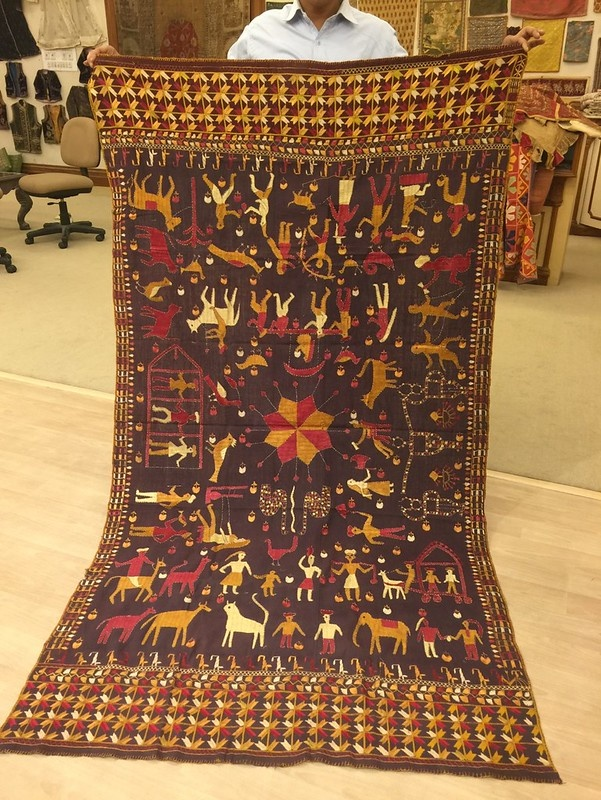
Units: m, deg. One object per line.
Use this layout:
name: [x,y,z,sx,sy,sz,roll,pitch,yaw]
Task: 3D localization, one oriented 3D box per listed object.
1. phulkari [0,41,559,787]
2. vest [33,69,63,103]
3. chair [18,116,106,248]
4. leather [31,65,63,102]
phulkari: [-0.041,-0.105,1.849,1.367,1.418,1.357,3,31,8]
vest: [-2.966,-3.673,8.018,0.409,0.449,0.090,7,41,-4]
chair: [-2.147,-1.955,6.095,0.741,1.076,0.737,11,24,19]
leather: [-2.973,-3.702,8.014,0.431,0.474,0.098,7,41,-4]
